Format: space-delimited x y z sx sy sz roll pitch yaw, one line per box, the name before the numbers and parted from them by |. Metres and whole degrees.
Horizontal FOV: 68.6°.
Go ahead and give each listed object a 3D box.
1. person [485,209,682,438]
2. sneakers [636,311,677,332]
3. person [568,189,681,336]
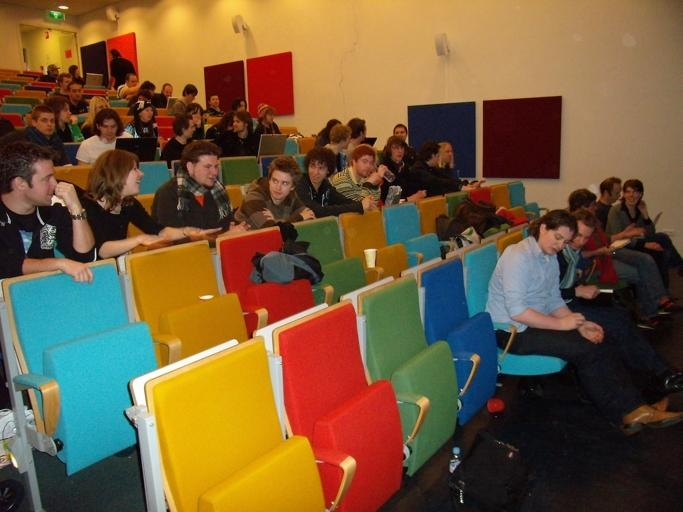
person | 1.408 0.262 3.431 1.488 1.390 0.843 5 19 36
sneakers | 2.835 0.586 4.479 0.249 0.112 0.096 -17 23 1
person | 2.885 -0.115 4.907 0.521 1.306 0.722 -16 8 -1
